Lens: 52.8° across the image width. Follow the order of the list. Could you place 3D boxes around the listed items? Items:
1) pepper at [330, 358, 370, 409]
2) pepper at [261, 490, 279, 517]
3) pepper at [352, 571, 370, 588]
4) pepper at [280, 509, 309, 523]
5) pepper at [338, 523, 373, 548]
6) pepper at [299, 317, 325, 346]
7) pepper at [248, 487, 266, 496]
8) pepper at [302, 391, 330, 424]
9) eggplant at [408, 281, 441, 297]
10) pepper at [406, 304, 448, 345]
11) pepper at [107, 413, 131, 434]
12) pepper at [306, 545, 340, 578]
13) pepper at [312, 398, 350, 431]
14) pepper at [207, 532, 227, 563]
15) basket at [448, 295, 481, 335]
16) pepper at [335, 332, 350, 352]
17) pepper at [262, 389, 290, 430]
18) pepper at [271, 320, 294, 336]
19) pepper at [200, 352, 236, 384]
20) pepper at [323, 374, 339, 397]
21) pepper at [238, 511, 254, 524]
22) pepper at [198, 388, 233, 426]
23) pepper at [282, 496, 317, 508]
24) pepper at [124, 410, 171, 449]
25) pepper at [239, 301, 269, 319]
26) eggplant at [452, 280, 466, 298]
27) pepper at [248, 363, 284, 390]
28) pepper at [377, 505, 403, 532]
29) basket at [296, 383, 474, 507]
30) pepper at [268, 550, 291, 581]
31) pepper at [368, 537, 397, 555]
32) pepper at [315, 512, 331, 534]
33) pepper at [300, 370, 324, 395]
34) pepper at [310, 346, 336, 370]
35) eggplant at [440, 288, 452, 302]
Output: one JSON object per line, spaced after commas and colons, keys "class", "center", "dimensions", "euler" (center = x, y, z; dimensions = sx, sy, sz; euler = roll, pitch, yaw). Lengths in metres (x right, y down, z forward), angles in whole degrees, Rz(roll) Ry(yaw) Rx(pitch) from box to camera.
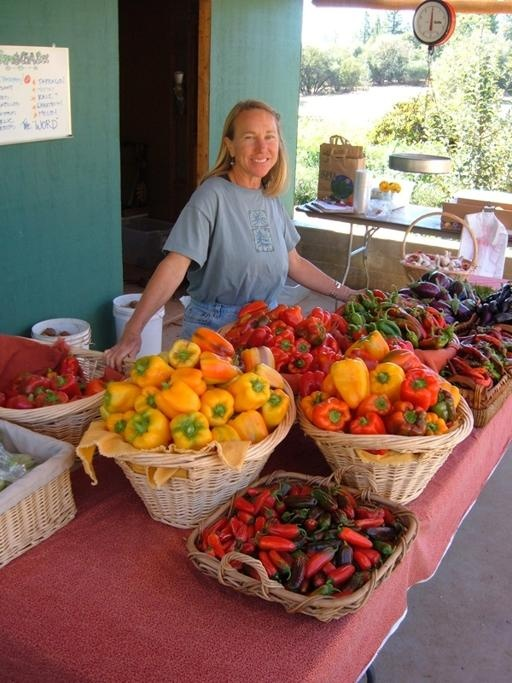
{"class": "pepper", "center": [0.253, 0.108, 1.382], "dimensions": [0.095, 0.133, 0.101], "euler": [-12, 3, -38]}
{"class": "pepper", "center": [0.032, 0.358, 1.155], "dimensions": [0.024, 0.019, 0.045], "euler": [7, 37, 0]}
{"class": "pepper", "center": [0.196, 0.444, 0.971], "dimensions": [0.017, 0.034, 0.014], "euler": [46, 13, 22]}
{"class": "pepper", "center": [0.084, 0.378, 1.117], "dimensions": [0.051, 0.019, 0.027], "euler": [-16, 28, 34]}
{"class": "pepper", "center": [0.201, 0.396, 1.042], "dimensions": [0.073, 0.031, 0.028], "euler": [22, -5, 9]}
{"class": "pepper", "center": [0.190, -0.032, 1.739], "dimensions": [0.080, 0.082, 0.084], "euler": [-17, 31, -14]}
{"class": "pepper", "center": [0.003, 0.348, 1.205], "dimensions": [0.034, 0.016, 0.014], "euler": [-6, 6, -3]}
{"class": "pepper", "center": [0.156, 0.169, 1.404], "dimensions": [0.072, 0.073, 0.071], "euler": [13, 44, 29]}
{"class": "eggplant", "center": [0.780, -0.247, 2.386], "dimensions": [0.113, 0.055, 0.057], "euler": [6, 48, 43]}
{"class": "pepper", "center": [0.669, -0.045, 1.929], "dimensions": [0.140, 0.067, 0.171], "euler": [1, 31, -9]}
{"class": "pepper", "center": [-0.314, 0.183, 1.173], "dimensions": [0.053, 0.049, 0.024], "euler": [-16, -19, 7]}
{"class": "pepper", "center": [0.134, 0.417, 0.997], "dimensions": [0.079, 0.025, 0.025], "euler": [-23, 32, -38]}
{"class": "pepper", "center": [0.191, 0.193, 1.376], "dimensions": [0.081, 0.087, 0.082], "euler": [13, 53, 36]}
{"class": "pepper", "center": [-0.080, 0.410, 1.035], "dimensions": [0.025, 0.047, 0.020], "euler": [-38, -23, 7]}
{"class": "basket", "center": [0.946, -0.119, 2.344], "dimensions": [0.090, 0.206, 0.186], "euler": [4, 4, 16]}
{"class": "pepper", "center": [0.304, 0.003, 1.806], "dimensions": [0.038, 0.027, 0.068], "euler": [11, 44, -41]}
{"class": "pepper", "center": [0.047, 0.168, 1.271], "dimensions": [0.064, 0.088, 0.063], "euler": [24, 19, -5]}
{"class": "pepper", "center": [0.087, -0.041, 1.717], "dimensions": [0.052, 0.053, 0.055], "euler": [-17, 21, -4]}
{"class": "pepper", "center": [-0.097, 0.069, 1.328], "dimensions": [0.089, 0.091, 0.071], "euler": [-3, 35, 2]}
{"class": "pepper", "center": [0.205, 0.121, 1.405], "dimensions": [0.026, 0.053, 0.043], "euler": [3, 2, 11]}
{"class": "pepper", "center": [-0.021, 0.378, 1.115], "dimensions": [0.015, 0.015, 0.030], "euler": [36, -10, -31]}
{"class": "pepper", "center": [-0.094, 0.152, 1.183], "dimensions": [0.055, 0.053, 0.069], "euler": [29, 5, -23]}
{"class": "pepper", "center": [0.100, 0.356, 1.147], "dimensions": [0.058, 0.022, 0.026], "euler": [-7, 38, 13]}
{"class": "pepper", "center": [-0.235, 0.189, 1.108], "dimensions": [0.086, 0.078, 0.101], "euler": [-9, -10, 11]}
{"class": "pepper", "center": [-0.009, -0.125, 1.958], "dimensions": [0.112, 0.059, 0.047], "euler": [-21, 58, -38]}
{"class": "eggplant", "center": [0.990, -0.259, 2.524], "dimensions": [0.066, 0.102, 0.081], "euler": [6, 4, 11]}
{"class": "pepper", "center": [0.031, 0.095, 1.367], "dimensions": [0.063, 0.084, 0.036], "euler": [-30, 26, 40]}
{"class": "pepper", "center": [0.304, 0.395, 1.149], "dimensions": [0.030, 0.021, 0.057], "euler": [-2, 5, 0]}
{"class": "basket", "center": [0.336, 0.264, 1.278], "dimensions": [0.299, 0.135, 0.287], "euler": [4, 16, 18]}
{"class": "pepper", "center": [0.048, 0.425, 0.988], "dimensions": [0.019, 0.017, 0.059], "euler": [-5, 12, -19]}
{"class": "pepper", "center": [0.260, 0.415, 1.052], "dimensions": [0.022, 0.018, 0.044], "euler": [0, 0, -2]}
{"class": "pepper", "center": [0.144, 0.383, 1.097], "dimensions": [0.015, 0.015, 0.055], "euler": [-19, 12, 16]}
{"class": "pepper", "center": [0.152, 0.113, 1.530], "dimensions": [0.066, 0.079, 0.063], "euler": [-2, 14, -19]}
{"class": "pepper", "center": [0.217, 0.036, 1.625], "dimensions": [0.067, 0.101, 0.078], "euler": [7, 15, 23]}
{"class": "eggplant", "center": [0.878, -0.213, 2.383], "dimensions": [0.038, 0.058, 0.036], "euler": [-15, -3, 16]}
